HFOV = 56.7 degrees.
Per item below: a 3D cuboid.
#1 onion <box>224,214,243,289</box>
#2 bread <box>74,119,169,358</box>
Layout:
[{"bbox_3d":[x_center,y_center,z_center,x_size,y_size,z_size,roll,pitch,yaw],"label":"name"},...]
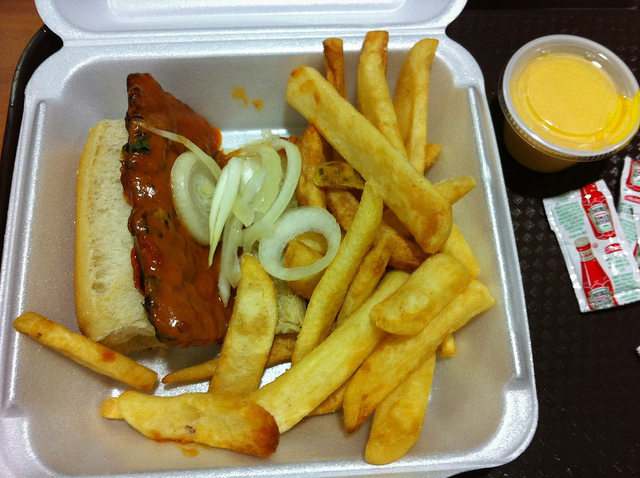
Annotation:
[{"bbox_3d":[-0.320,0.070,2.147,0.057,0.067,0.312,2,80,-31],"label":"onion"},{"bbox_3d":[-0.792,0.022,2.319,0.387,0.209,0.855,-8,89,-3],"label":"bread"}]
